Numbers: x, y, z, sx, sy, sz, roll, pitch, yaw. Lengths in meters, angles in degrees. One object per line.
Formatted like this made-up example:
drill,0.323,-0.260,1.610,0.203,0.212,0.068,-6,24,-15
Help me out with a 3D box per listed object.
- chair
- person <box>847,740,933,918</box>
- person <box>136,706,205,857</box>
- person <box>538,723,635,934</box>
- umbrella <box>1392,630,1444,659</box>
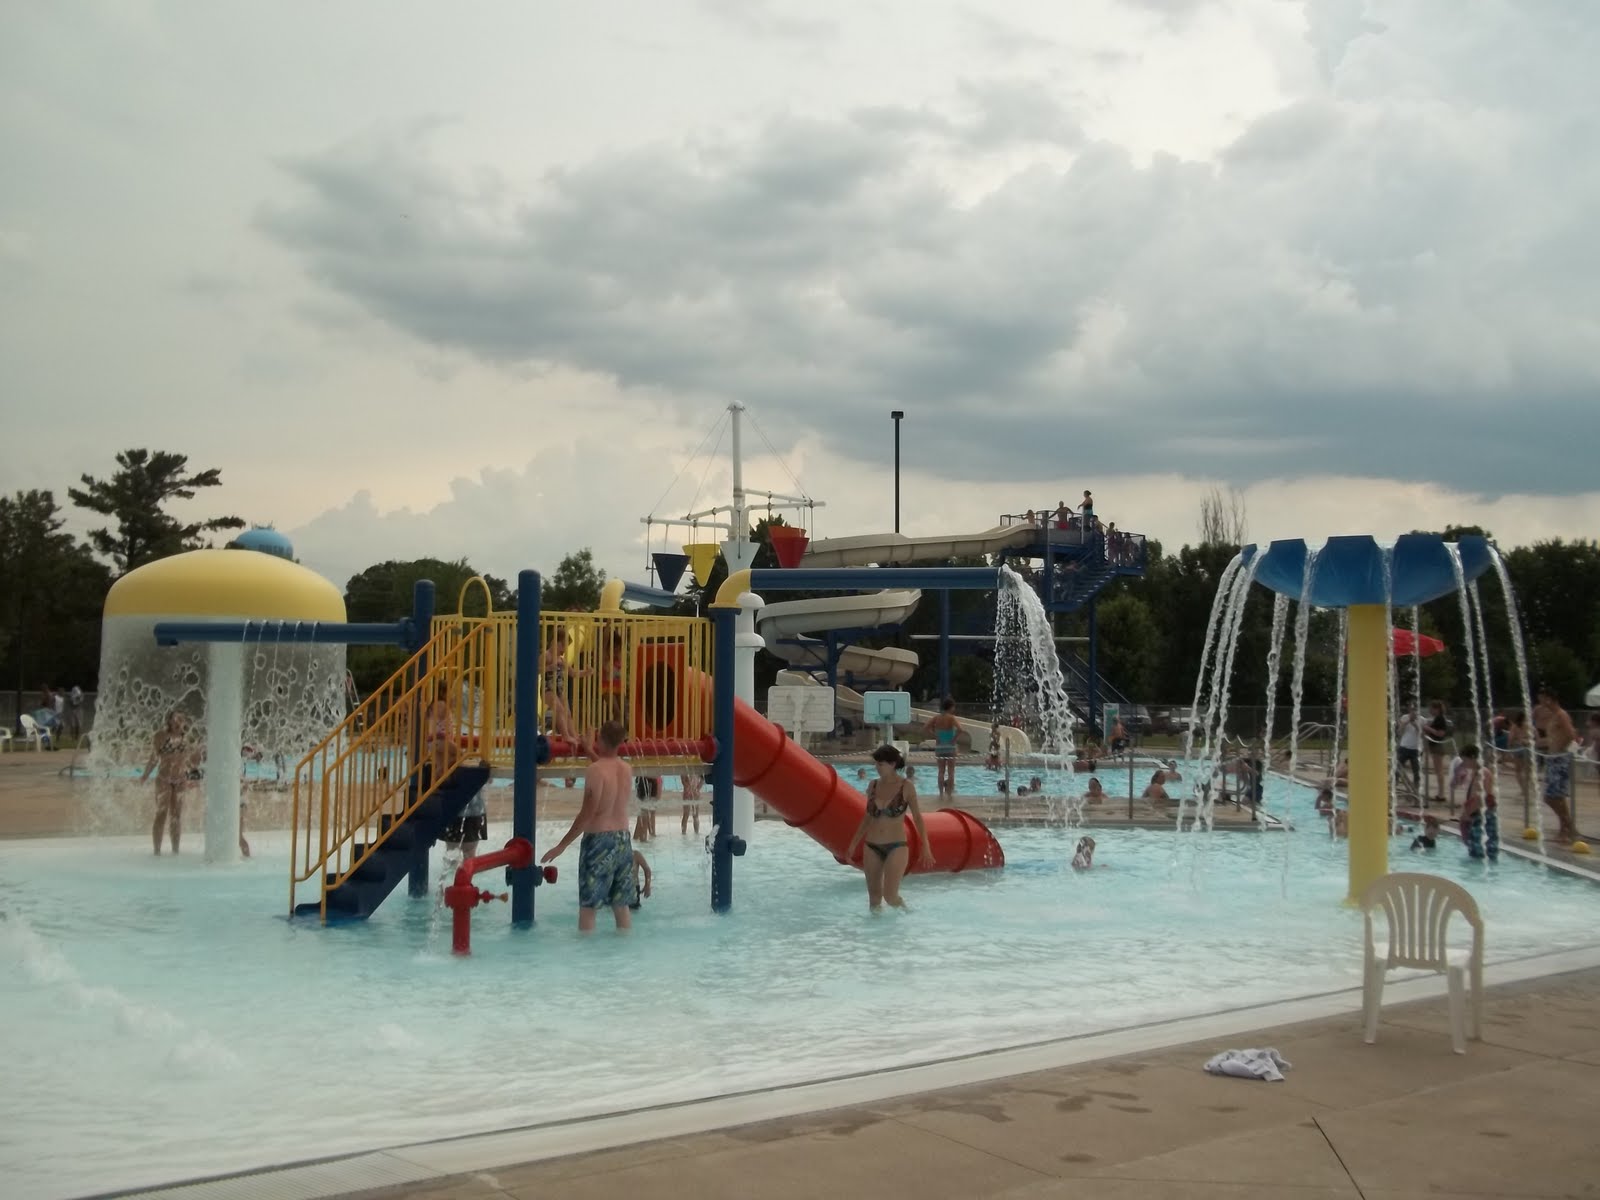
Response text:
chair,3.905,2.210,8.427,0.849,1.042,0.878,2,-3,-6
person,0.848,2.458,13.056,0.785,2.100,0.523,2,5,4
person,-7.395,2.146,15.702,0.585,1.718,0.988,3,-6,-26
person,-1.745,1.985,11.642,0.601,1.829,0.919,1,-6,-7
umbrella,12.263,0.888,26.601,1.104,0.428,1.144,9,-3,20
